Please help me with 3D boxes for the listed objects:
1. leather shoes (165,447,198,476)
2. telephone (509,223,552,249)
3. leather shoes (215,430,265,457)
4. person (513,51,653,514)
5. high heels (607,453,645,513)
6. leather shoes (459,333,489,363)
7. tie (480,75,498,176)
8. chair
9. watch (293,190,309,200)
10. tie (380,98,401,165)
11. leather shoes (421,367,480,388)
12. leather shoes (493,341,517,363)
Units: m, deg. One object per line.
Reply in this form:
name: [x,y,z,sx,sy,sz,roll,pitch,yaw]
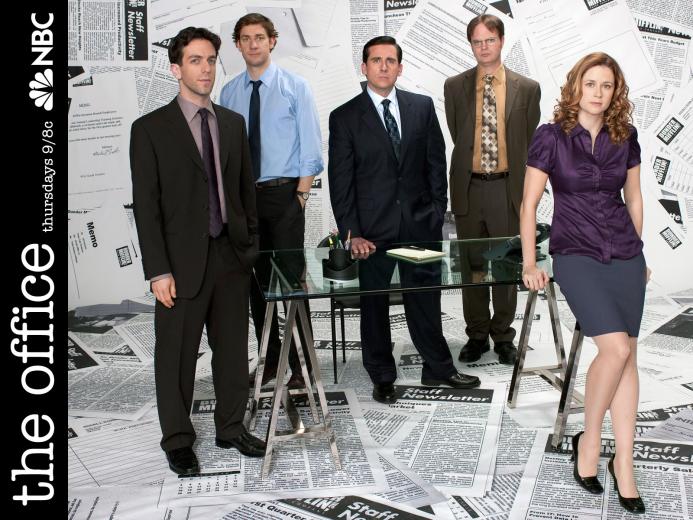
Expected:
leather shoes: [-0.782,0.961,2.597,0.078,0.089,0.198,-3,6,-30]
telephone: [1.006,-0.137,2.945,0.225,0.083,0.163,-25,29,-12]
leather shoes: [-0.519,0.930,2.780,0.286,0.126,0.109,4,13,16]
person: [1.062,0.044,2.414,0.559,1.871,0.674,3,13,18]
high heels: [1.185,0.953,2.325,0.073,0.098,0.230,-4,34,-7]
leather shoes: [0.916,0.633,3.877,0.103,0.114,0.287,7,11,39]
tie: [0.983,-0.926,3.706,0.114,0.650,0.124,1,12,9]
chair: [0.121,0.227,3.367,0.476,0.938,0.639,-7,-8,6]
watch: [-0.300,-0.421,3.558,0.071,0.048,0.075,4,-2,23]
tie: [0.268,-0.775,3.228,0.116,0.362,0.068,1,12,12]
leather shoes: [0.657,0.711,3.414,0.301,0.126,0.145,-2,9,4]
leather shoes: [1.118,0.646,3.811,0.075,0.093,0.212,-5,14,-7]
